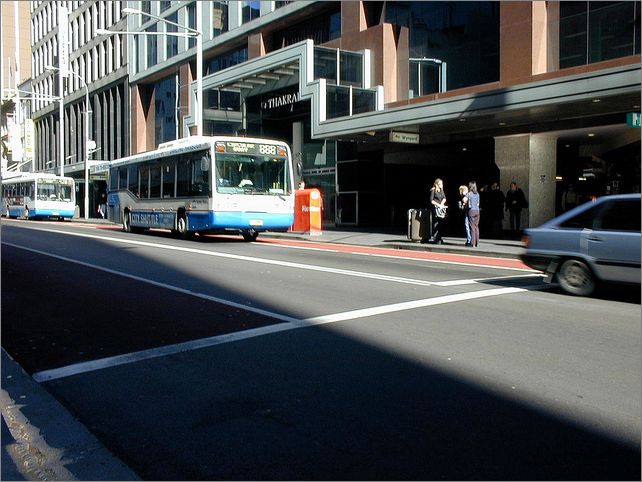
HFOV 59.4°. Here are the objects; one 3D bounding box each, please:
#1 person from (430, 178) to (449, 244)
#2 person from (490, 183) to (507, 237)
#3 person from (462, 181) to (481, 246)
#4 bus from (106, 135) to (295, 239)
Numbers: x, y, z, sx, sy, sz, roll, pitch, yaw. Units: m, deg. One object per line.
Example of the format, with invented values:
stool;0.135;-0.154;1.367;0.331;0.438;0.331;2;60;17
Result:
person;3.879;-1.022;18.581;0.510;2.137;1.096;-1;4;12
person;6.731;-1.236;21.515;0.576;2.001;0.645;0;4;20
person;4.669;-0.864;17.518;0.435;2.010;0.882;-1;4;18
bus;-6.146;-2.158;23.643;3.326;4.492;11.104;-2;3;-40
